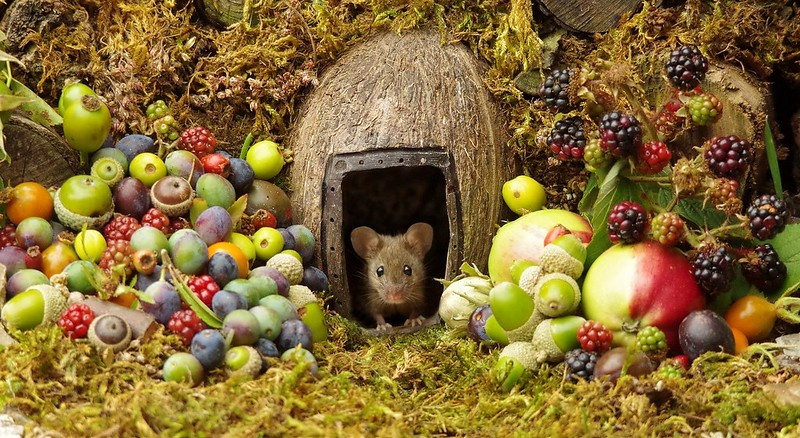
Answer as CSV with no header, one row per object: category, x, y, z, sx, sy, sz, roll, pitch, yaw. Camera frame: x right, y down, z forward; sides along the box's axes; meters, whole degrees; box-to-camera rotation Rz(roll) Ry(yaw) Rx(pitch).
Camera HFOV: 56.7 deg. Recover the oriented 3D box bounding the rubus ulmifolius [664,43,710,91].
rubus ulmifolius,1.665,-0.908,4.373,0.211,0.207,0.281,-6,40,2
